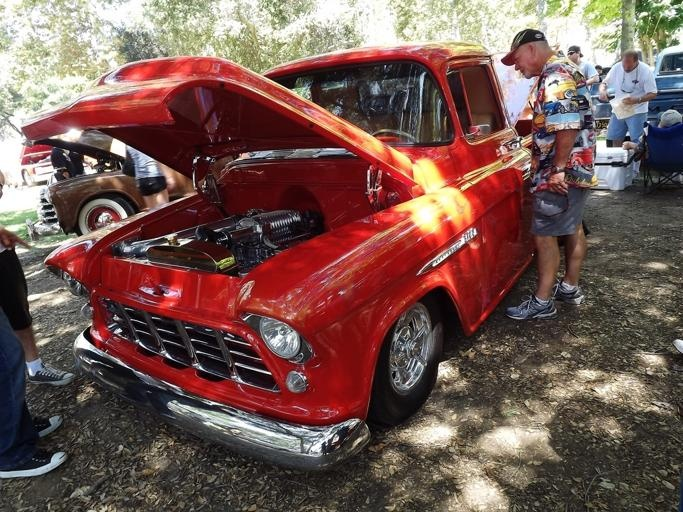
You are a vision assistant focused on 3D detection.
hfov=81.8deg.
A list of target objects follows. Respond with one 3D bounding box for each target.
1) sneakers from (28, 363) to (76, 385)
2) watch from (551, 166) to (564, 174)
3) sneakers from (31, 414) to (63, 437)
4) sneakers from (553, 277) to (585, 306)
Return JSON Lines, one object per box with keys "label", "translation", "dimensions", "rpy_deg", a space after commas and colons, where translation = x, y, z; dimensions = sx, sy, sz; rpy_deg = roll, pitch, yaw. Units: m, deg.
{"label": "sneakers", "translation": [-2.283, 0.939, 3.194], "dimensions": [0.439, 0.131, 0.139], "rpy_deg": [0, 13, -3]}
{"label": "watch", "translation": [1.611, -0.644, 2.944], "dimensions": [0.071, 0.036, 0.068], "rpy_deg": [5, 2, 11]}
{"label": "sneakers", "translation": [-2.038, 1.161, 2.770], "dimensions": [0.140, 0.095, 0.320], "rpy_deg": [14, -15, -23]}
{"label": "sneakers", "translation": [2.086, 0.330, 3.654], "dimensions": [0.158, 0.155, 0.363], "rpy_deg": [-8, 13, -1]}
